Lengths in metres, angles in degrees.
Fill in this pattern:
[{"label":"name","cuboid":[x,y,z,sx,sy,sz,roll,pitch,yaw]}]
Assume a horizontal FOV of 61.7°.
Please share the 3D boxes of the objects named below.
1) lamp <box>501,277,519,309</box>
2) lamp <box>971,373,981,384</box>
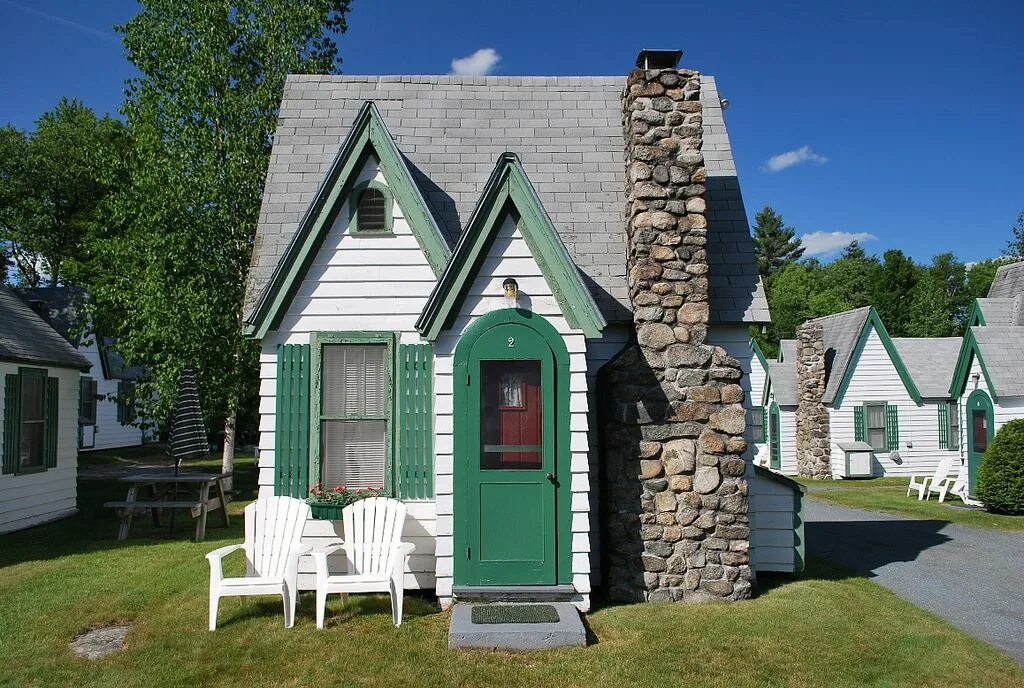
[{"label":"lamp","cuboid":[-0.013,-1.088,18.047,0.358,0.607,0.167,0,7,-4]},{"label":"lamp","cuboid":[15.127,1.130,27.822,0.265,0.327,0.226,-1,-8,4]}]
